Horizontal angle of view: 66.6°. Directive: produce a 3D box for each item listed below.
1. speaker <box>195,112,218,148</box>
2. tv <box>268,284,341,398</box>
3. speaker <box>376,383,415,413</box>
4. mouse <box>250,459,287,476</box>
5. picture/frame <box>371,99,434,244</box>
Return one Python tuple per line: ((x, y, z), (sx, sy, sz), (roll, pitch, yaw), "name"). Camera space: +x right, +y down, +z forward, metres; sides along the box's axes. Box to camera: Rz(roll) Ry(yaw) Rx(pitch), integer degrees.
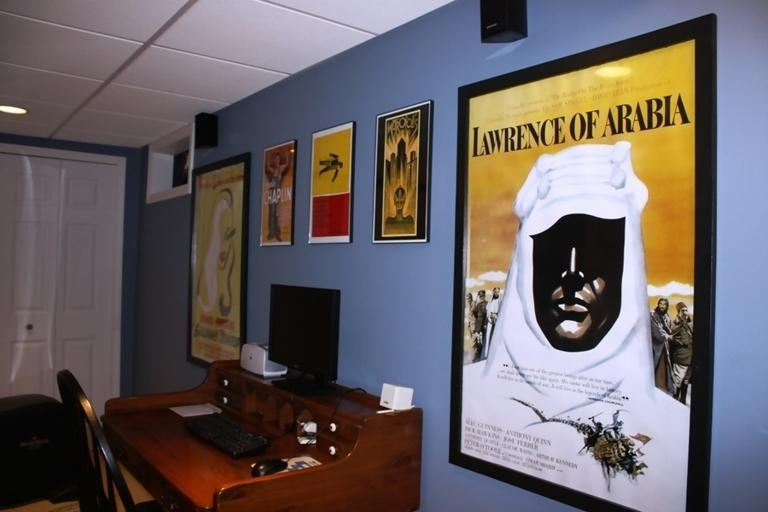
((-1.372, -1.013, 4.551), (0.178, 0.286, 0.168), (-3, 32, -22), "speaker")
((-0.444, 0.448, 3.257), (0.197, 0.555, 0.631), (1, 1, -42), "tv")
((0.059, 0.701, 2.906), (0.128, 0.128, 0.129), (10, -6, -40), "speaker")
((-0.503, 0.956, 2.620), (0.160, 0.061, 0.146), (0, -2, -23), "mouse")
((0.102, -0.427, 3.056), (0.387, 0.706, 0.029), (-2, -3, 43), "picture/frame")
